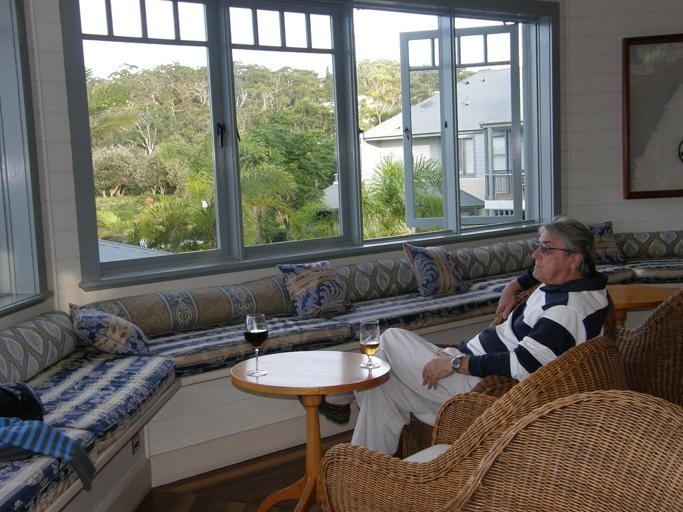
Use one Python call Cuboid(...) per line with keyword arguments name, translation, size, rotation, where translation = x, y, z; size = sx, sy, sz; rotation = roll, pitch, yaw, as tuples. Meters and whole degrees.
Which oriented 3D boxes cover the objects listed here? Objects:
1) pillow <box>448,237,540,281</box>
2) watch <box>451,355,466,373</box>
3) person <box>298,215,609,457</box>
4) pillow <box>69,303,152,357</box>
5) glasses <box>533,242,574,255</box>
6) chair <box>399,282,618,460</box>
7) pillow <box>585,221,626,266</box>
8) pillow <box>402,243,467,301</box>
Cuboid(name="pillow", translation=(1.309, 0.061, 5.058), size=(1.043, 0.263, 0.164), rotation=(-8, -7, -20))
Cuboid(name="watch", translation=(0.519, 0.489, 2.509), size=(0.050, 0.082, 0.081), rotation=(19, -21, 21))
Cuboid(name="person", translation=(0.517, 0.514, 2.762), size=(1.359, 1.395, 0.739), rotation=(8, 4, 18))
Cuboid(name="pillow", translation=(-1.426, 0.434, 3.171), size=(0.341, 0.166, 0.324), rotation=(7, 26, 26))
Cuboid(name="glasses", translation=(0.979, -0.033, 2.521), size=(0.173, 0.045, 0.046), rotation=(4, 17, 39))
Cuboid(name="chair", translation=(0.481, 0.553, 2.268), size=(0.971, 0.769, 0.769), rotation=(-3, 3, 6))
Cuboid(name="pillow", translation=(2.341, -0.099, 4.832), size=(0.408, 0.377, 0.123), rotation=(-5, -18, -13))
Cuboid(name="pillow", translation=(0.732, 0.093, 4.447), size=(0.450, 0.431, 0.136), rotation=(-5, -26, -39))
